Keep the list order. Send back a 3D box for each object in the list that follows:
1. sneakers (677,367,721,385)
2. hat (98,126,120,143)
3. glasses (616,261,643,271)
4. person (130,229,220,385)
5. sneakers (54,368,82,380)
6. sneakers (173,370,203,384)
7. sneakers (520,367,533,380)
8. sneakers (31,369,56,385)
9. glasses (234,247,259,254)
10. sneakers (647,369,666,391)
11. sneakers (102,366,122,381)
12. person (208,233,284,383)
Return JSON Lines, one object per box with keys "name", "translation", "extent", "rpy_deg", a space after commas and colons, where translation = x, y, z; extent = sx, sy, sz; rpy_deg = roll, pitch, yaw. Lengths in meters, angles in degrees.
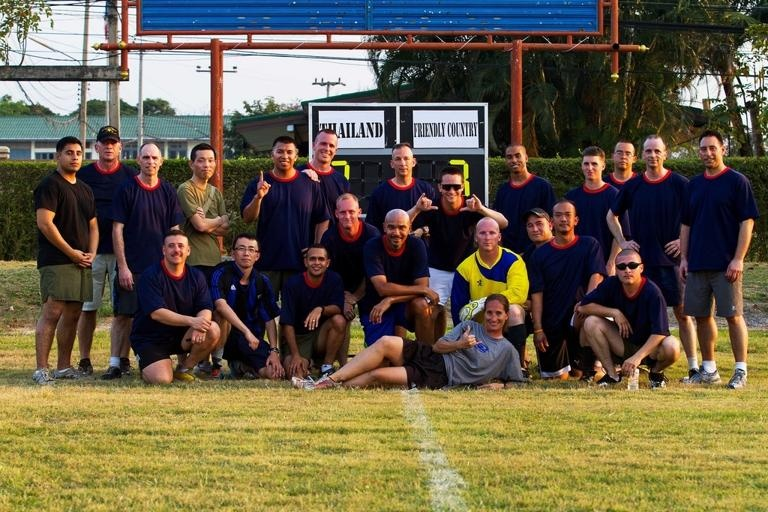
{"name": "sneakers", "translation": [4.106, 1.553, 15.718], "extent": [0.573, 0.258, 0.198], "rpy_deg": [0, -7, 11]}
{"name": "hat", "translation": [-3.722, -1.635, 16.304], "extent": [0.207, 0.156, 0.286], "rpy_deg": [1, -9, -12]}
{"name": "glasses", "translation": [3.124, 0.117, 15.400], "extent": [0.309, 0.125, 0.177], "rpy_deg": [2, 15, 6]}
{"name": "person", "translation": [-2.720, 0.648, 15.620], "extent": [1.130, 1.958, 0.645], "rpy_deg": [-4, 15, -13]}
{"name": "sneakers", "translation": [-4.136, 1.535, 15.852], "extent": [0.384, 0.183, 0.141], "rpy_deg": [1, 6, -8]}
{"name": "sneakers", "translation": [-2.572, 1.576, 15.774], "extent": [0.396, 0.178, 0.149], "rpy_deg": [2, 0, 1]}
{"name": "sneakers", "translation": [1.922, 1.594, 16.191], "extent": [0.097, 0.130, 0.302], "rpy_deg": [-3, -18, 12]}
{"name": "sneakers", "translation": [-4.396, 1.549, 15.485], "extent": [0.349, 0.163, 0.138], "rpy_deg": [3, -2, 23]}
{"name": "glasses", "translation": [-1.807, -0.080, 15.860], "extent": [0.298, 0.132, 0.105], "rpy_deg": [-4, 15, -14]}
{"name": "sneakers", "translation": [3.513, 1.602, 15.559], "extent": [0.138, 0.171, 0.398], "rpy_deg": [-1, -12, 6]}
{"name": "sneakers", "translation": [-3.571, 1.544, 15.845], "extent": [0.241, 0.105, 0.112], "rpy_deg": [5, 1, -18]}
{"name": "person", "translation": [-1.870, 0.682, 16.115], "extent": [1.131, 1.923, 1.055], "rpy_deg": [2, 11, -20]}
